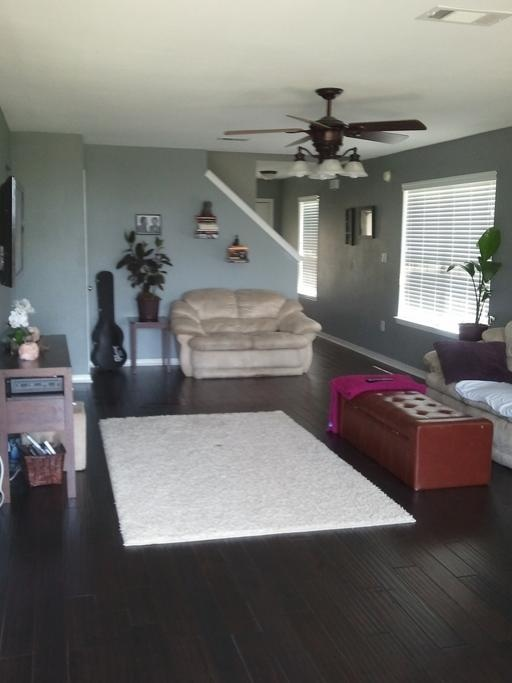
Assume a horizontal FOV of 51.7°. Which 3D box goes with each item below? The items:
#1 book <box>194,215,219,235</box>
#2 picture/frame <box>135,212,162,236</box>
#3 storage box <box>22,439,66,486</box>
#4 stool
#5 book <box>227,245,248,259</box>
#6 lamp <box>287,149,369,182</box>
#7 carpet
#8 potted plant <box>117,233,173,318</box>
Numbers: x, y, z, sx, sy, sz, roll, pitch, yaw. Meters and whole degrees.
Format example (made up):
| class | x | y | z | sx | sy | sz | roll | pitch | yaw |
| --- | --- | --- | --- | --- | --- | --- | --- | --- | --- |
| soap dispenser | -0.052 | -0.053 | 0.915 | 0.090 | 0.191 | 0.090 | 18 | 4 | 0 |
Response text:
| class | x | y | z | sx | sy | sz | roll | pitch | yaw |
| --- | --- | --- | --- | --- | --- | --- | --- | --- | --- |
| book | -0.591 | -1.403 | 6.445 | 0.261 | 0.216 | 0.246 | 2 | 12 | -6 |
| picture/frame | -1.322 | -1.421 | 6.399 | 0.368 | 0.288 | 0.035 | -1 | 7 | -19 |
| storage box | -1.197 | 0.694 | 3.010 | 0.233 | 0.203 | 0.290 | 0 | 2 | -18 |
| stool | -1.202 | 0.563 | 3.237 | 0.425 | 0.371 | 0.392 | -1 | 11 | -17 |
| book | -0.220 | -1.091 | 6.680 | 0.210 | 0.182 | 0.088 | -3 | -6 | -7 |
| lamp | 0.510 | -1.264 | 3.797 | 0.536 | 0.239 | 0.728 | 2 | 7 | 2 |
| carpet | -0.155 | 0.785 | 3.285 | 1.484 | 0.057 | 1.854 | -1 | 7 | -18 |
| potted plant | -1.330 | -0.772 | 6.316 | 0.628 | 1.058 | 0.516 | 1 | 8 | -9 |
